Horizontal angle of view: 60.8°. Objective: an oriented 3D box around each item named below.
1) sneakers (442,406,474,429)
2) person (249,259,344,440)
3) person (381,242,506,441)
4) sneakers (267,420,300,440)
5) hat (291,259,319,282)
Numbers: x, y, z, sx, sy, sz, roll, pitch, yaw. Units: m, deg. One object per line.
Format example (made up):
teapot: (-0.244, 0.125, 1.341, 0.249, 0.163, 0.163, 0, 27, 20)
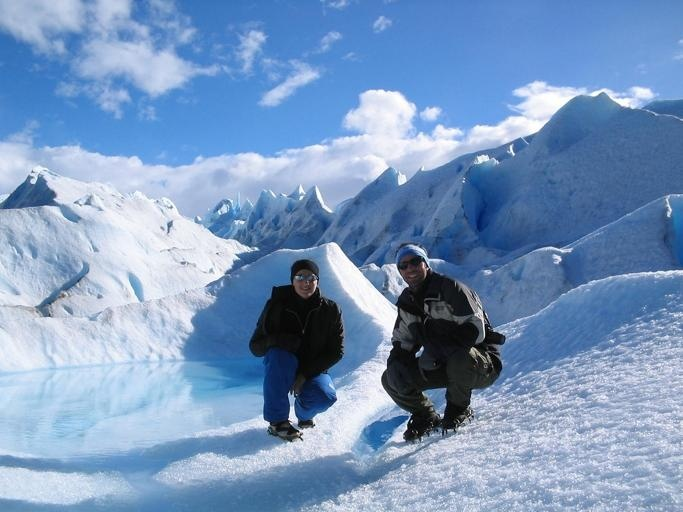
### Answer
sneakers: (0.898, 1.240, 4.571, 0.109, 0.139, 0.314, -25, -3, 41)
person: (-0.357, 0.738, 4.734, 0.772, 1.417, 0.343, -4, -3, -11)
person: (1.025, 0.824, 5.884, 1.091, 1.548, 1.147, 22, -44, -22)
sneakers: (-0.461, 1.368, 4.620, 0.231, 0.098, 0.132, 0, -1, 26)
hat: (-0.309, 0.107, 4.795, 0.164, 0.162, 0.214, 2, -20, -18)
